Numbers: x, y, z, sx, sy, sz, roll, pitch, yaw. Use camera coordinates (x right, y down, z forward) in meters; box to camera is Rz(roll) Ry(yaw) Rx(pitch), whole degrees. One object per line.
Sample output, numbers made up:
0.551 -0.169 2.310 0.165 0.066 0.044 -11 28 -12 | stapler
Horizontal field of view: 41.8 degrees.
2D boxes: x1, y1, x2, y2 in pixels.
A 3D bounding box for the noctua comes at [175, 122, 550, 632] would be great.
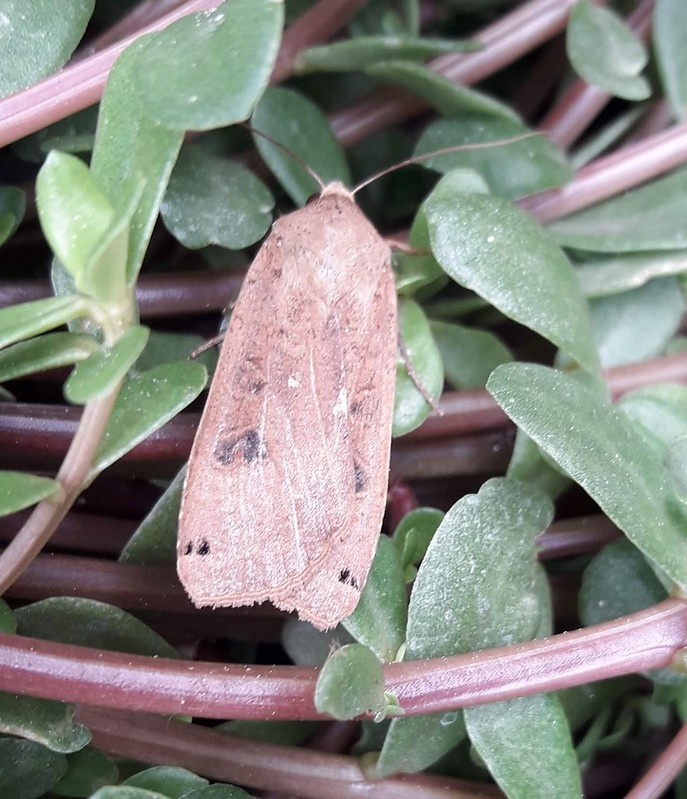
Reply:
-0.024 -0.007 0.686 0.284 0.077 0.348 7 83 3 | noctua comes
